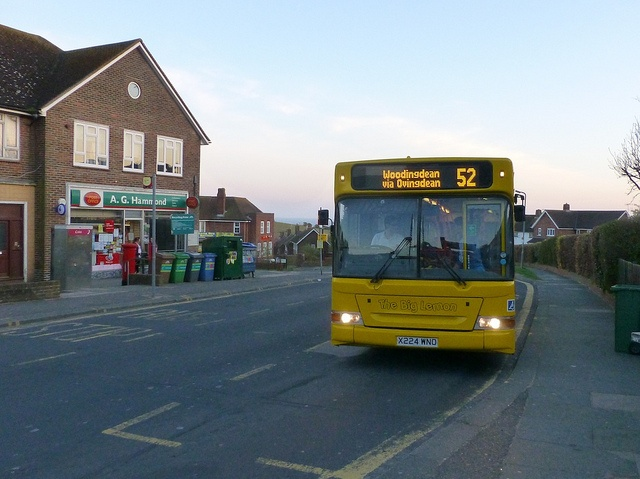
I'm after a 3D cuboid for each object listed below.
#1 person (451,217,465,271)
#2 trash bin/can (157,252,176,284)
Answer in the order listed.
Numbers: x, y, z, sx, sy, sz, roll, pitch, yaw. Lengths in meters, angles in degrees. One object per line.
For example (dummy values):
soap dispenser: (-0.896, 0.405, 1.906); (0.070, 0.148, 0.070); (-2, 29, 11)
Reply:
person: (2.417, 0.048, 9.621); (0.182, 0.842, 0.213); (3, -8, -23)
trash bin/can: (-7.023, 1.295, 24.331); (0.525, 1.375, 1.171); (1, 3, 23)
